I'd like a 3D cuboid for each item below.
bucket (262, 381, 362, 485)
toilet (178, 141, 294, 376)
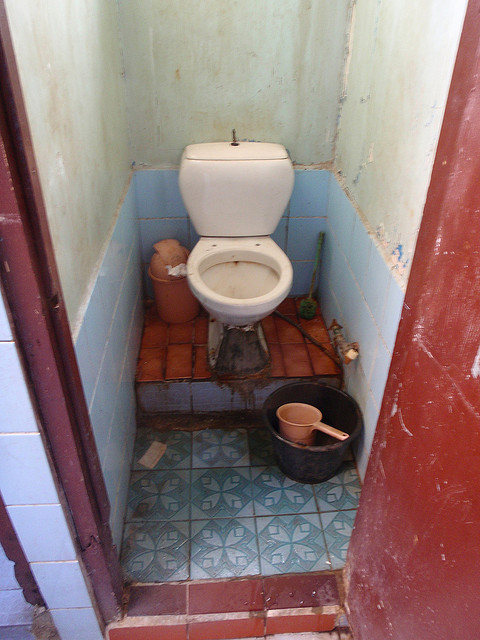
[{"bbox_3d":[0.258,0.426,1.809,0.350,0.269,0.342,1,32,0],"label":"bucket"},{"bbox_3d":[-0.016,-0.242,2.039,0.447,0.851,0.844,-2,37,-4],"label":"toilet"}]
